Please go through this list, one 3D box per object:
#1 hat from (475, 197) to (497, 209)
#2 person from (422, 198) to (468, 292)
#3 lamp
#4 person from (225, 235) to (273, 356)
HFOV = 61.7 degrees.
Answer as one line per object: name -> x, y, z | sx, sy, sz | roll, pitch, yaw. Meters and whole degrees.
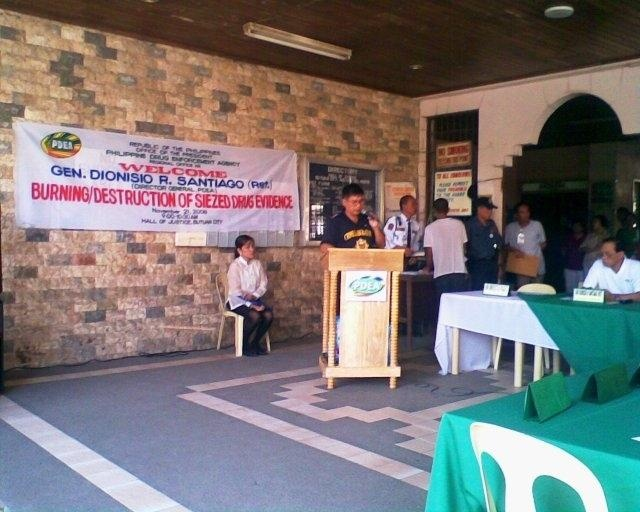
hat -> 2.136, -0.686, 6.797 | 0.311, 0.165, 0.223 | 3, 7, 9
person -> 1.547, -0.105, 6.609 | 0.487, 1.251, 0.538 | 1, 4, 17
lamp -> -0.244, -2.498, 6.200 | 1.432, 0.123, 0.196 | -2, 4, -36
person -> -0.866, 0.458, 6.499 | 0.536, 1.426, 0.466 | 0, 4, -6
